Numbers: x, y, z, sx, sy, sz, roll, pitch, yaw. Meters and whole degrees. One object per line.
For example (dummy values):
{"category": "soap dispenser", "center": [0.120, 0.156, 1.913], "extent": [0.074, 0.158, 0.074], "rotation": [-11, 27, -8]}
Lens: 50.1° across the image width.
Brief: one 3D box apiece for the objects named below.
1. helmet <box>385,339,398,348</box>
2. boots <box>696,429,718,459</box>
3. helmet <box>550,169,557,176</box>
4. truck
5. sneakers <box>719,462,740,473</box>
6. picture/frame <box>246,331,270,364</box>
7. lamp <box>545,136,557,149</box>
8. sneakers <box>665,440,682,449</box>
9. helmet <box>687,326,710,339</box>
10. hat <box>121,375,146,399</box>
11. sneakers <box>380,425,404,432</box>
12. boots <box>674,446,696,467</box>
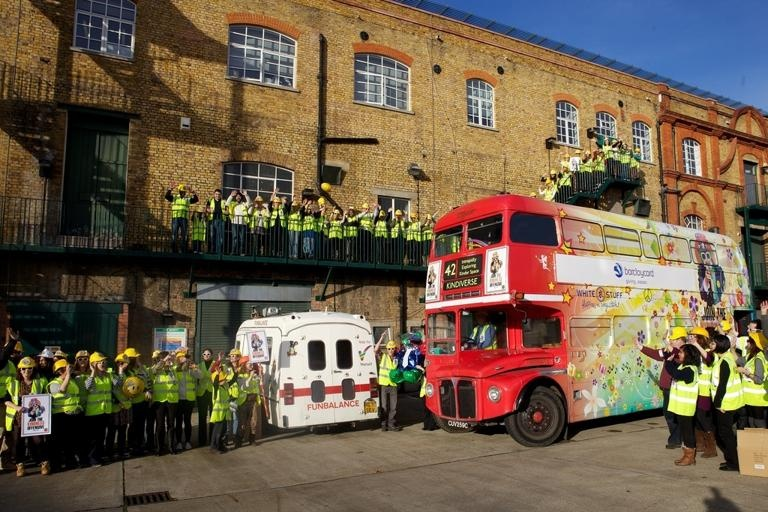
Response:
{"category": "helmet", "center": [0.216, 2.649, 24.413], "extent": [0.338, 0.218, 0.471], "rotation": [0, -8, 2]}
{"category": "boots", "center": [8.208, 4.744, 20.797], "extent": [0.604, 0.742, 0.639], "rotation": [2, -5, -15]}
{"category": "helmet", "center": [6.968, -3.431, 33.794], "extent": [0.269, 0.111, 0.387], "rotation": [-2, 9, 17]}
{"category": "truck", "center": [-2.619, 3.211, 24.937], "extent": [2.769, 2.602, 4.219], "rotation": [1, -3, -27]}
{"category": "sneakers", "center": [8.210, 5.023, 19.511], "extent": [0.478, 0.203, 0.158], "rotation": [-9, -8, 44]}
{"category": "picture/frame", "center": [-3.568, 2.585, 23.021], "extent": [0.812, 1.094, 0.115], "rotation": [-8, -22, -17]}
{"category": "lamp", "center": [7.083, -4.797, 34.885], "extent": [0.512, 0.467, 0.118], "rotation": [-1, 12, -33]}
{"category": "sneakers", "center": [7.474, 4.860, 21.202], "extent": [0.307, 0.210, 0.172], "rotation": [5, -4, 18]}
{"category": "helmet", "center": [8.051, 1.916, 20.785], "extent": [0.689, 0.268, 0.497], "rotation": [1, -1, -43]}
{"category": "hat", "center": [-6.642, 3.438, 21.654], "extent": [0.446, 0.524, 0.578], "rotation": [11, 3, -22]}
{"category": "sneakers", "center": [0.230, 5.059, 24.166], "extent": [0.634, 0.268, 0.211], "rotation": [-1, -4, -14]}
{"category": "boots", "center": [7.322, 4.845, 19.978], "extent": [0.513, 0.476, 0.417], "rotation": [3, -3, 22]}
